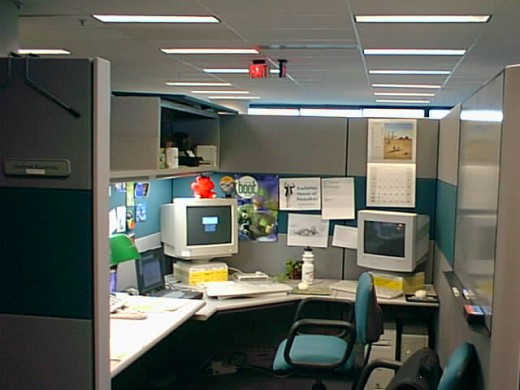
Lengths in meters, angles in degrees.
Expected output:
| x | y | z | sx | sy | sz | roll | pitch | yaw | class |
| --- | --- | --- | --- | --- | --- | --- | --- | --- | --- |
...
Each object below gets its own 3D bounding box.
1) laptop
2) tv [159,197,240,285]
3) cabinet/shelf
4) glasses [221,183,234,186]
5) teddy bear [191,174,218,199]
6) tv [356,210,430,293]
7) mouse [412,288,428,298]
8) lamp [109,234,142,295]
| x | y | z | sx | sy | sz | roll | pitch | yaw | class |
| --- | --- | --- | --- | --- | --- | --- | --- | --- | --- |
| -0.652 | 0.591 | 3.119 | 0.464 | 0.332 | 0.438 | 2 | -4 | 4 | laptop |
| -0.489 | 0.410 | 3.828 | 0.568 | 0.732 | 0.431 | -2 | 1 | -20 | tv |
| -0.750 | -0.463 | 3.400 | 0.585 | 0.540 | 1.318 | -1 | 3 | 7 | cabinet/shelf |
| -0.314 | -0.101 | 3.963 | 0.125 | 0.034 | 0.025 | -2 | 3 | 0 | glasses |
| -0.532 | -0.078 | 3.883 | 0.249 | 0.219 | 0.321 | -2 | 3 | -7 | teddy bear |
| 1.156 | 0.450 | 3.645 | 0.481 | 0.699 | 0.397 | 4 | 13 | 34 | tv |
| 1.276 | 0.775 | 3.306 | 0.065 | 0.028 | 0.085 | -4 | 7 | -1 | mouse |
| -0.933 | 0.475 | 2.851 | 0.197 | 0.439 | 0.387 | -3 | 3 | -19 | lamp |
